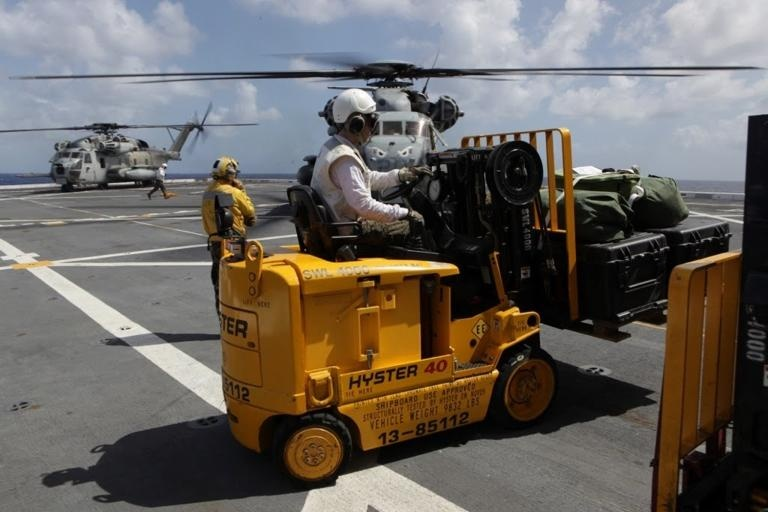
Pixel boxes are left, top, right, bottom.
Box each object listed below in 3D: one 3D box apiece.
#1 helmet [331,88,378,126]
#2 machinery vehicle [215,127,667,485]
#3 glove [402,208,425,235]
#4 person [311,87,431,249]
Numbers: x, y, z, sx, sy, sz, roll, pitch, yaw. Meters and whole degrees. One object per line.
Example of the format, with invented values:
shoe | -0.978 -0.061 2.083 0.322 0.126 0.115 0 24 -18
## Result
helmet | -0.285 -1.407 4.937 0.430 0.333 0.340 -8 32 -12
machinery vehicle | 0.695 0.135 5.670 4.696 2.895 2.003 -7 9 -31
glove | 0.290 -0.359 5.113 0.191 0.246 0.115 2 -35 -22
person | -0.073 -0.861 5.028 1.136 1.315 0.912 0 17 -17
